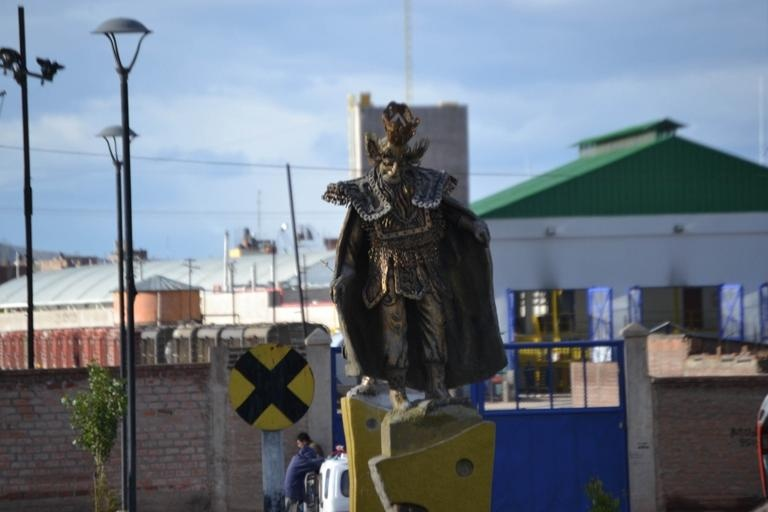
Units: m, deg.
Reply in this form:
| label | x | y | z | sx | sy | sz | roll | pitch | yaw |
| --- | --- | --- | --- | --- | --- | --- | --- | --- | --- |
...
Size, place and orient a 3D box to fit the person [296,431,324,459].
| label | x | y | z | sx | sy | sz | roll | pitch | yaw |
| --- | --- | --- | --- | --- | --- | --- | --- | --- | --- |
| person | -2.561 | 6.308 | 74.403 | 0.405 | 0.920 | 0.638 | -21 | 11 | 47 |
